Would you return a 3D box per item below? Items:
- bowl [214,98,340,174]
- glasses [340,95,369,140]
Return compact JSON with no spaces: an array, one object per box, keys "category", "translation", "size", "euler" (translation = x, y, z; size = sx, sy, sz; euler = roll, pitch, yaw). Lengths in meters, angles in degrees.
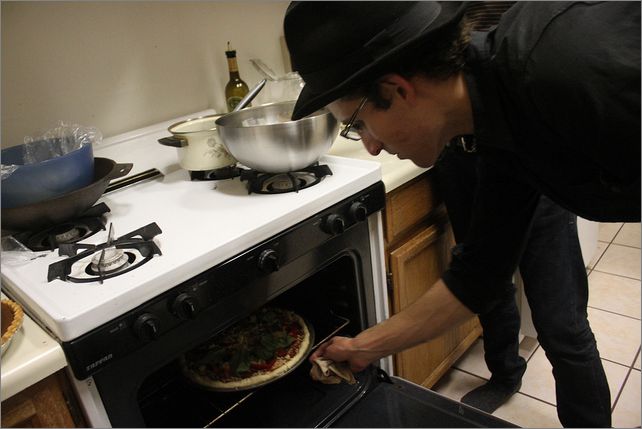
[{"category":"bowl","translation":[-0.133,-0.232,1.596],"size":[0.377,0.165,0.373],"euler":[-3,15,1]},{"category":"glasses","translation":[0.086,-0.244,1.231],"size":[0.029,0.107,0.102],"euler":[21,5,5]}]
